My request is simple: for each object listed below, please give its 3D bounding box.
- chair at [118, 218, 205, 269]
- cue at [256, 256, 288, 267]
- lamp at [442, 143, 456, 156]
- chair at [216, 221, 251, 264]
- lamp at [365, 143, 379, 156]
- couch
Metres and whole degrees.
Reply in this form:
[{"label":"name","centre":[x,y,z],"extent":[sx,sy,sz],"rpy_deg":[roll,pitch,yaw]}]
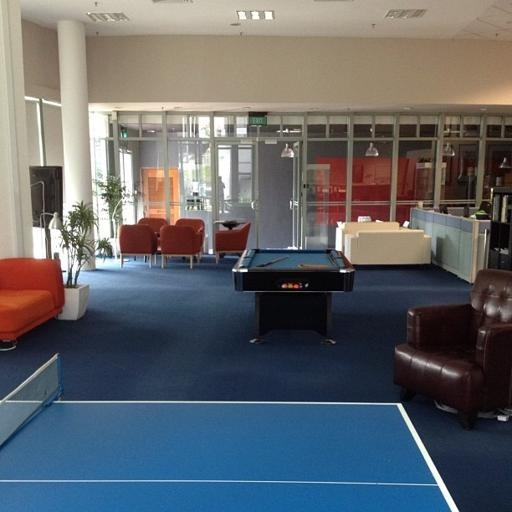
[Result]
[{"label":"chair","centre":[-2.068,-0.255,9.529],"extent":[1.653,0.918,0.903],"rpy_deg":[1,10,8]},{"label":"cue","centre":[0.204,0.058,5.133],"extent":[0.106,0.073,0.849],"rpy_deg":[46,22,16]},{"label":"lamp","centre":[4.899,-2.702,10.971],"extent":[0.296,0.303,0.292],"rpy_deg":[-1,1,-2]},{"label":"chair","centre":[-0.452,-0.256,10.299],"extent":[0.962,1.053,0.813],"rpy_deg":[0,5,-1]},{"label":"lamp","centre":[2.915,-2.714,10.892],"extent":[0.301,0.330,0.100],"rpy_deg":[-1,0,5]},{"label":"couch","centre":[2.761,-0.245,9.376],"extent":[1.853,0.922,1.161],"rpy_deg":[-1,10,-4]}]
